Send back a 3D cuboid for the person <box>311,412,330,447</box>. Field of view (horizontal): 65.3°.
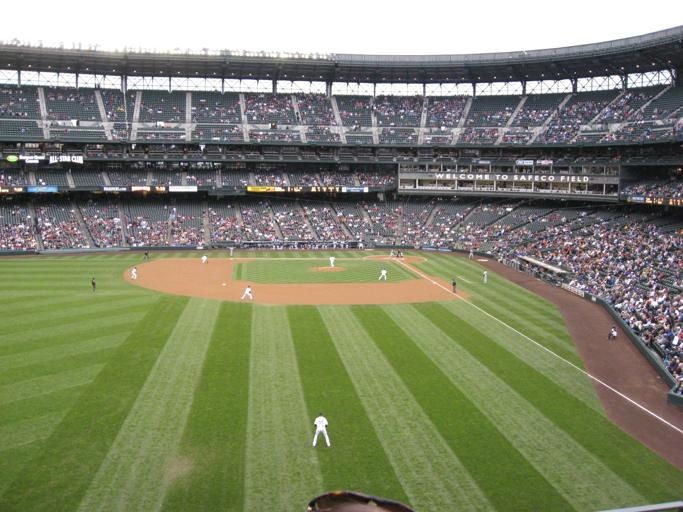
[{"bbox_3d":[-0.815,7.038,21.990,0.756,1.149,1.378,1,10,-2],"label":"person"}]
